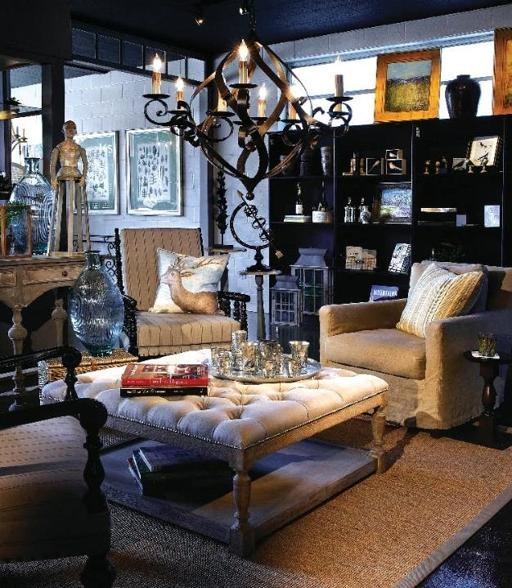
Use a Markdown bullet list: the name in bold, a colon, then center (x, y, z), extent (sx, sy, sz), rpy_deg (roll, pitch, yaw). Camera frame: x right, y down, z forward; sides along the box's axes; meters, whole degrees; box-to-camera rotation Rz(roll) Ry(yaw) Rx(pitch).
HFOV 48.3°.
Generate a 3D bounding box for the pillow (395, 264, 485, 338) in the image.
- **pillow**: center (1.054, 0.040, 3.293), extent (0.271, 0.409, 0.513), rpy_deg (5, 6, -10)

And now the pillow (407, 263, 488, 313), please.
- **pillow**: center (1.119, -0.013, 3.472), extent (0.522, 0.329, 0.166), rpy_deg (2, -7, -18)

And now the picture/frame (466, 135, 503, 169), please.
- **picture/frame**: center (1.984, -1.219, 4.949), extent (0.332, 0.325, 0.047), rpy_deg (7, -9, 43)

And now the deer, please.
- **deer**: center (-0.407, -0.039, 3.890), extent (0.468, 0.416, 0.156), rpy_deg (9, -9, 2)

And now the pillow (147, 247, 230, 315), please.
- **pillow**: center (-0.489, -0.083, 3.926), extent (0.493, 0.419, 0.177), rpy_deg (4, -16, -7)

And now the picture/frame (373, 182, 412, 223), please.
- **picture/frame**: center (1.459, -0.917, 5.778), extent (0.260, 0.395, 0.459), rpy_deg (-12, 14, -43)

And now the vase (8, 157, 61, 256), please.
- **vase**: center (-1.550, -0.603, 4.011), extent (0.474, 0.671, 0.450), rpy_deg (-4, 21, -29)

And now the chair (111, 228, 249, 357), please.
- **chair**: center (-0.540, 0.093, 3.926), extent (0.863, 1.054, 0.898), rpy_deg (-3, 5, -13)

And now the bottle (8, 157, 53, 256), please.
- **bottle**: center (-1.512, -0.596, 4.017), extent (0.324, 0.668, 0.306), rpy_deg (2, 19, -1)

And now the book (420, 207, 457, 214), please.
- **book**: center (1.693, -0.775, 5.305), extent (0.325, 0.058, 0.269), rpy_deg (8, 7, 25)

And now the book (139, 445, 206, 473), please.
- **book**: center (-0.313, 0.597, 2.091), extent (0.148, 0.027, 0.141), rpy_deg (1, -2, -25)

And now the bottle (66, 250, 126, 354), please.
- **bottle**: center (-0.904, 0.041, 3.263), extent (0.351, 0.549, 0.330), rpy_deg (-4, 5, 0)

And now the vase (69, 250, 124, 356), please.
- **vase**: center (-0.892, 0.051, 3.194), extent (0.285, 0.576, 0.201), rpy_deg (7, 7, 2)

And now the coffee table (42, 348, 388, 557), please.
- **coffee table**: center (-0.121, 0.550, 2.304), extent (1.231, 0.358, 1.214), rpy_deg (2, 3, 15)
